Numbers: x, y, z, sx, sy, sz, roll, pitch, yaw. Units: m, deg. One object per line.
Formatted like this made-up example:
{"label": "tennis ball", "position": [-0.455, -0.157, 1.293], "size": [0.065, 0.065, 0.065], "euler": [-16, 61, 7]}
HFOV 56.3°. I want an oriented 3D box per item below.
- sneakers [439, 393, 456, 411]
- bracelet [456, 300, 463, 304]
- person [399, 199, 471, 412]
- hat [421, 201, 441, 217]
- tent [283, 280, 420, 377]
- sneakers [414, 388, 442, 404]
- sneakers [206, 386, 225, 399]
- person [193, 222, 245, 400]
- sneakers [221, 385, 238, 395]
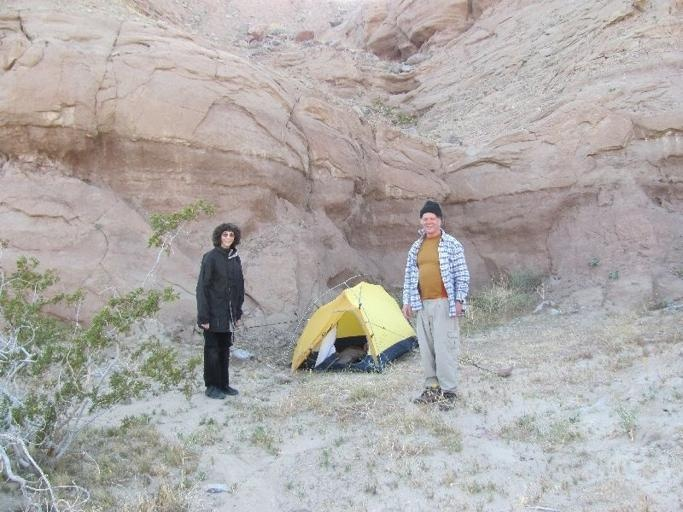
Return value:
{"label": "sneakers", "position": [1.313, 1.807, 7.973], "size": [0.196, 0.150, 0.289], "euler": [3, 14, 19]}
{"label": "bracelet", "position": [1.467, 0.572, 7.946], "size": [0.054, 0.017, 0.041], "euler": [24, 21, 10]}
{"label": "person", "position": [1.169, 0.588, 8.094], "size": [0.806, 2.513, 0.663], "euler": [10, 17, 41]}
{"label": "hat", "position": [1.134, -0.605, 8.188], "size": [0.242, 0.235, 0.185], "euler": [-3, 3, -9]}
{"label": "tent", "position": [0.027, 1.067, 10.809], "size": [1.587, 1.078, 2.035], "euler": [-6, 6, 12]}
{"label": "sneakers", "position": [1.103, 1.783, 8.136], "size": [0.395, 0.179, 0.152], "euler": [-6, -1, 7]}
{"label": "sneakers", "position": [-1.730, 1.857, 8.716], "size": [0.226, 0.103, 0.143], "euler": [2, 4, 25]}
{"label": "person", "position": [-1.673, 0.752, 8.820], "size": [0.520, 2.298, 0.864], "euler": [3, 13, 18]}
{"label": "sneakers", "position": [-1.545, 1.866, 8.859], "size": [0.250, 0.106, 0.087], "euler": [0, 4, -7]}
